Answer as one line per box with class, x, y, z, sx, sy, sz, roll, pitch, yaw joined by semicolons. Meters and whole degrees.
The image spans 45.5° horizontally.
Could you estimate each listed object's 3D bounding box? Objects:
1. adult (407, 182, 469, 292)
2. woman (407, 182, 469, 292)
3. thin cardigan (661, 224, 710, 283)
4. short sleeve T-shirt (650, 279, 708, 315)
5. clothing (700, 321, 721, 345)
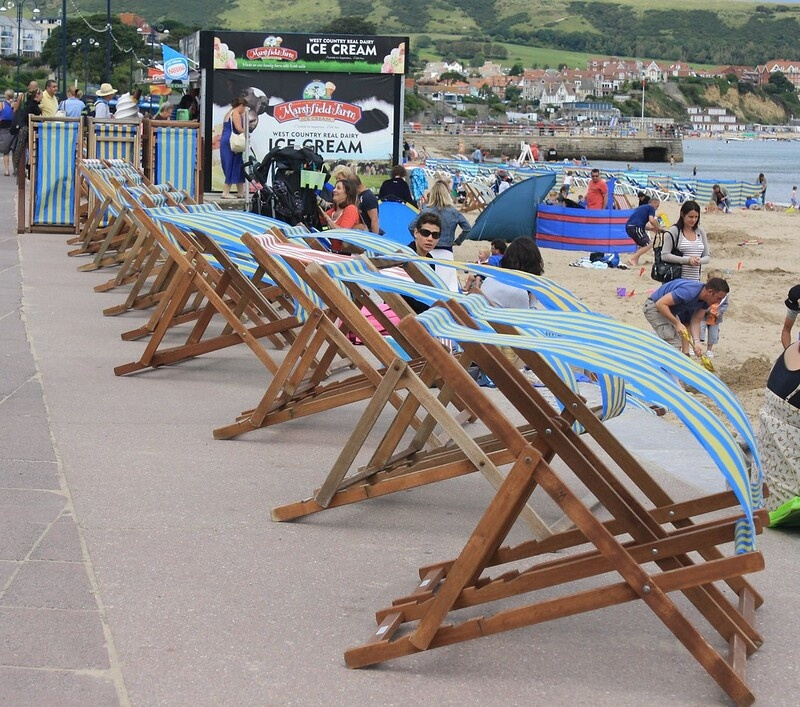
adult;0.576;-1.321;11.925;0.722;1.758;0.453;-1;35;13
woman;0.535;-1.325;11.905;0.704;1.682;0.444;1;35;6
thin cardigan;3.014;-1.012;9.970;0.550;0.635;0.372;-2;15;-17
short sleeve T-shirt;2.600;-0.522;8.883;0.427;0.229;0.323;3;13;36
clothing;3.136;-0.204;9.657;0.234;0.298;0.147;-1;7;1
